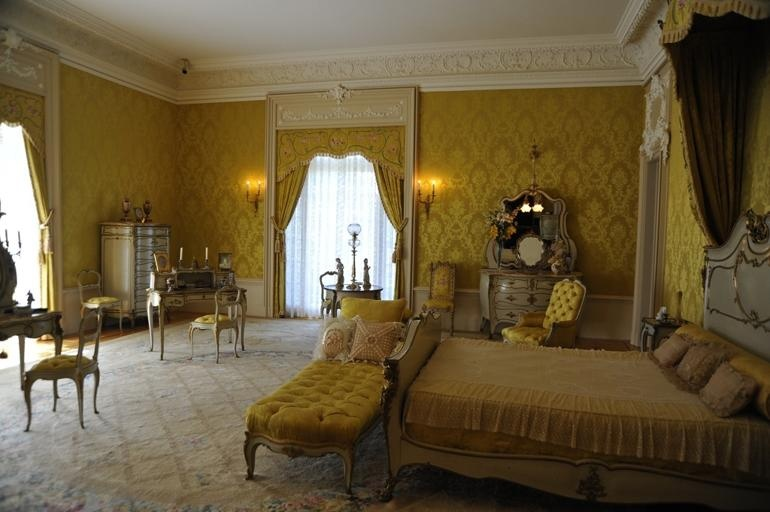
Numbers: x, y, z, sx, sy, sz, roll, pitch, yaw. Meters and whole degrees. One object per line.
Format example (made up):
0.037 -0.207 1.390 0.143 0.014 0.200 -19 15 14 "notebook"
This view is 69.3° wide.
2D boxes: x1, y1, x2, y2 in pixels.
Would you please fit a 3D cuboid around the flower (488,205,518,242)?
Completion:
1.967 -0.531 9.430 0.491 0.572 0.506 1 2 12 "flower"

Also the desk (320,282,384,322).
-0.529 0.626 8.476 0.631 0.684 0.600 -1 -1 -24 "desk"

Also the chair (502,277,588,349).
2.158 0.810 7.717 1.020 1.326 0.896 1 3 -16 "chair"

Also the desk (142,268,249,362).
-2.801 0.805 8.331 1.266 1.252 1.016 -1 2 -27 "desk"

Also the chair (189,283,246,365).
-2.438 0.905 7.936 0.613 1.047 0.653 -1 3 -45 "chair"

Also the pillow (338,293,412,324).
-0.162 0.628 6.567 0.698 0.561 0.258 1 -28 18 "pillow"

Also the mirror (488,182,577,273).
2.504 -0.443 9.250 1.395 1.362 0.109 0 -1 10 "mirror"

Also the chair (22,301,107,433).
-3.608 1.205 6.253 0.832 1.265 0.843 3 2 39 "chair"

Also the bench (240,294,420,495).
-0.500 1.373 6.007 1.116 1.318 2.322 2 9 16 "bench"

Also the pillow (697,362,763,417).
3.054 1.212 4.932 0.165 0.401 0.387 26 12 -24 "pillow"

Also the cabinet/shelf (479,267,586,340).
2.300 0.819 9.082 1.656 1.222 0.648 2 10 12 "cabinet/shelf"

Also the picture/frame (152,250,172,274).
-3.515 0.094 8.719 0.069 0.385 0.320 -11 5 18 "picture/frame"
